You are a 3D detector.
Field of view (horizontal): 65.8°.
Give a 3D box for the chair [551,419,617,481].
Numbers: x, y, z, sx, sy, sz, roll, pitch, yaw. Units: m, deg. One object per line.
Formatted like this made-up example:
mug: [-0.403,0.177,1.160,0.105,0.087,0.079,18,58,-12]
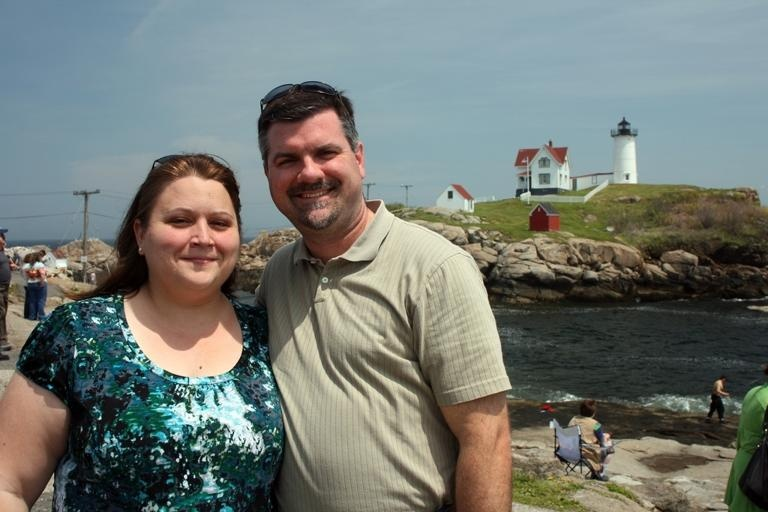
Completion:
chair: [4.058,4.005,12.274,0.977,1.097,1.057,10,-13,-30]
